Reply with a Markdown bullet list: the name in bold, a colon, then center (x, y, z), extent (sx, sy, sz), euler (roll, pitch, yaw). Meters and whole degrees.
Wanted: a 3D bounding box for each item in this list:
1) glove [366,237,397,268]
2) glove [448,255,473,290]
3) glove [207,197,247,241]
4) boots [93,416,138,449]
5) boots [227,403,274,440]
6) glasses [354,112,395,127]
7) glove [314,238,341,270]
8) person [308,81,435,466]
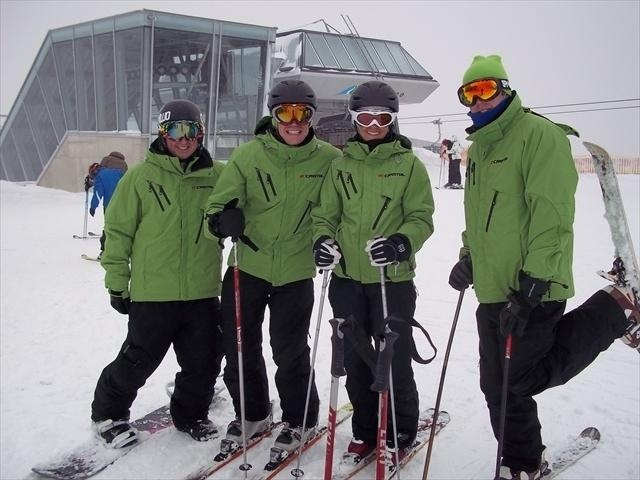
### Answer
- **glove**: center (0.484, 0.107, 4.674), extent (0.242, 0.237, 0.102), euler (1, 7, 5)
- **glove**: center (1.161, 0.275, 4.857), extent (0.073, 0.252, 0.194), euler (20, 7, -45)
- **glove**: center (-0.787, -0.158, 4.977), extent (0.305, 0.353, 0.277), euler (-1, 7, -11)
- **boots**: center (-1.816, 1.701, 5.274), extent (0.341, 0.149, 0.204), euler (25, 21, 39)
- **boots**: center (-0.647, 1.687, 5.419), extent (0.211, 0.286, 0.686), euler (1, -3, 26)
- **glasses**: center (0.435, -0.978, 4.842), extent (0.330, 0.128, 0.109), euler (0, 7, 2)
- **glove**: center (0.056, 0.125, 4.763), extent (0.186, 0.250, 0.105), euler (-6, -13, 26)
- **person**: center (0.436, 0.279, 4.936), extent (0.965, 3.175, 0.632), euler (1, 7, 11)
